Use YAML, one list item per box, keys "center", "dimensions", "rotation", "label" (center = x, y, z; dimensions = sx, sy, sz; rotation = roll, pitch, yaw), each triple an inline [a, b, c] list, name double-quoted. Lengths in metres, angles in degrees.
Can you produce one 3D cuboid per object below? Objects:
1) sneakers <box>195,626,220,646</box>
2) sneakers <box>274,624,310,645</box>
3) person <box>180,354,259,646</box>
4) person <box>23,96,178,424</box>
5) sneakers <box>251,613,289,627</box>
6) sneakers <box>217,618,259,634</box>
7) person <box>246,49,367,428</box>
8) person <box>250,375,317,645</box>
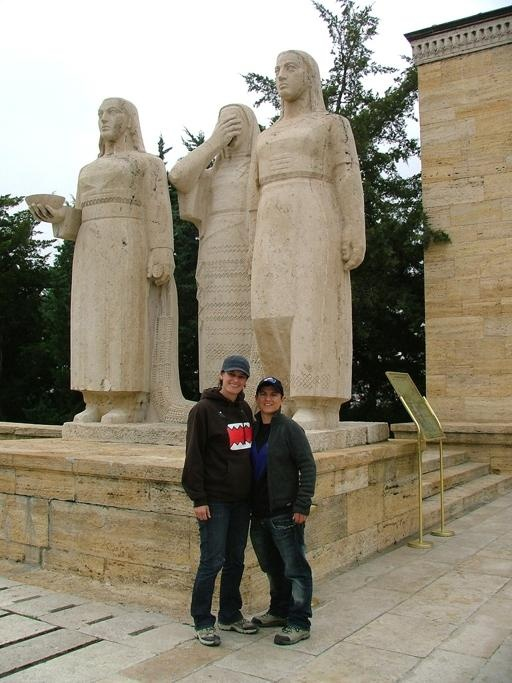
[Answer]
- center: [-0.230, 1.486, 3.723]
  dimensions: [0.059, 0.055, 0.156]
  rotation: [9, -17, -37]
  label: "sneakers"
- center: [0.188, 1.491, 3.767]
  dimensions: [0.203, 0.074, 0.067]
  rotation: [18, -22, -33]
  label: "sneakers"
- center: [-0.185, 0.806, 3.905]
  dimensions: [0.285, 1.463, 0.437]
  rotation: [-1, -3, 33]
  label: "person"
- center: [-1.363, -0.849, 7.428]
  dimensions: [1.306, 3.283, 0.514]
  rotation: [1, -3, -6]
  label: "person"
- center: [0.082, 1.519, 4.065]
  dimensions: [0.199, 0.074, 0.070]
  rotation: [7, -10, -1]
  label: "sneakers"
- center: [-0.080, 1.501, 3.955]
  dimensions: [0.215, 0.080, 0.069]
  rotation: [0, -5, 9]
  label: "sneakers"
- center: [0.431, -0.603, 6.003]
  dimensions: [0.921, 2.586, 0.627]
  rotation: [1, -3, 0]
  label: "person"
- center: [0.145, 0.873, 3.957]
  dimensions: [0.332, 1.360, 0.416]
  rotation: [1, -2, -1]
  label: "person"
